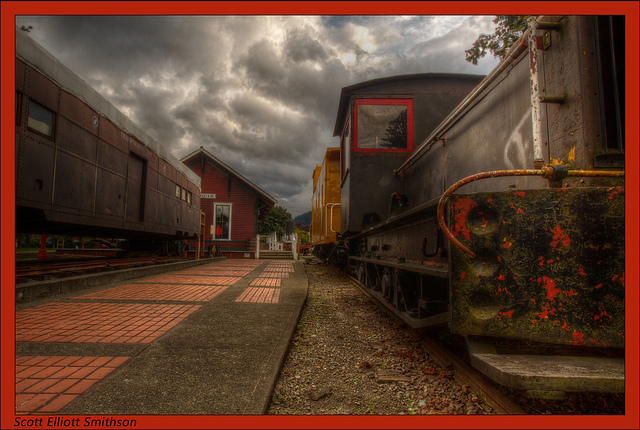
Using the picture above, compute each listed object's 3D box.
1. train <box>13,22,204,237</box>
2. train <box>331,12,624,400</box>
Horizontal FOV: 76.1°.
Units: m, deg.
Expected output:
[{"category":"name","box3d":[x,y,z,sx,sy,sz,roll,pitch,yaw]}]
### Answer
[{"category":"train","box3d":[-4.715,-1.191,9.568,0.713,3.596,6.622,4,1,4]},{"category":"train","box3d":[2.203,0.192,6.672,2.149,2.825,6.555,1,-6,-4]}]
